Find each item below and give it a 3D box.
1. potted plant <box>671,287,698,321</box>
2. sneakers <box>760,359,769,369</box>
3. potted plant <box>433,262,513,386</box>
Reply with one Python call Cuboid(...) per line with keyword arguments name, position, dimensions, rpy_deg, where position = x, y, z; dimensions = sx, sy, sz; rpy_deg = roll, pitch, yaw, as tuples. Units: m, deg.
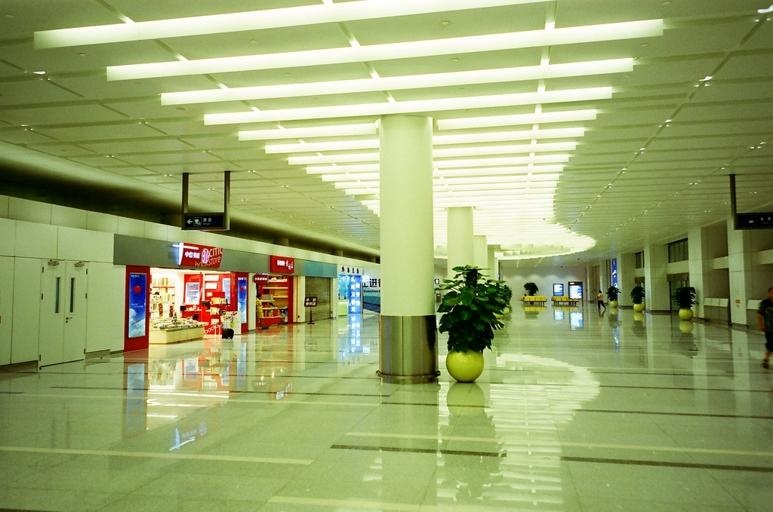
Cuboid(name="potted plant", position=(15.909, 2.489, 30.343), dimensions=(0.941, 1.689, 1.138), rpy_deg=(-6, -7, 27))
Cuboid(name="sneakers", position=(9.191, 2.599, 13.873), dimensions=(0.183, 0.205, 0.106), rpy_deg=(-18, 9, 8))
Cuboid(name="potted plant", position=(1.975, 1.579, 12.632), dimensions=(1.797, 2.230, 1.644), rpy_deg=(-2, -5, 17))
